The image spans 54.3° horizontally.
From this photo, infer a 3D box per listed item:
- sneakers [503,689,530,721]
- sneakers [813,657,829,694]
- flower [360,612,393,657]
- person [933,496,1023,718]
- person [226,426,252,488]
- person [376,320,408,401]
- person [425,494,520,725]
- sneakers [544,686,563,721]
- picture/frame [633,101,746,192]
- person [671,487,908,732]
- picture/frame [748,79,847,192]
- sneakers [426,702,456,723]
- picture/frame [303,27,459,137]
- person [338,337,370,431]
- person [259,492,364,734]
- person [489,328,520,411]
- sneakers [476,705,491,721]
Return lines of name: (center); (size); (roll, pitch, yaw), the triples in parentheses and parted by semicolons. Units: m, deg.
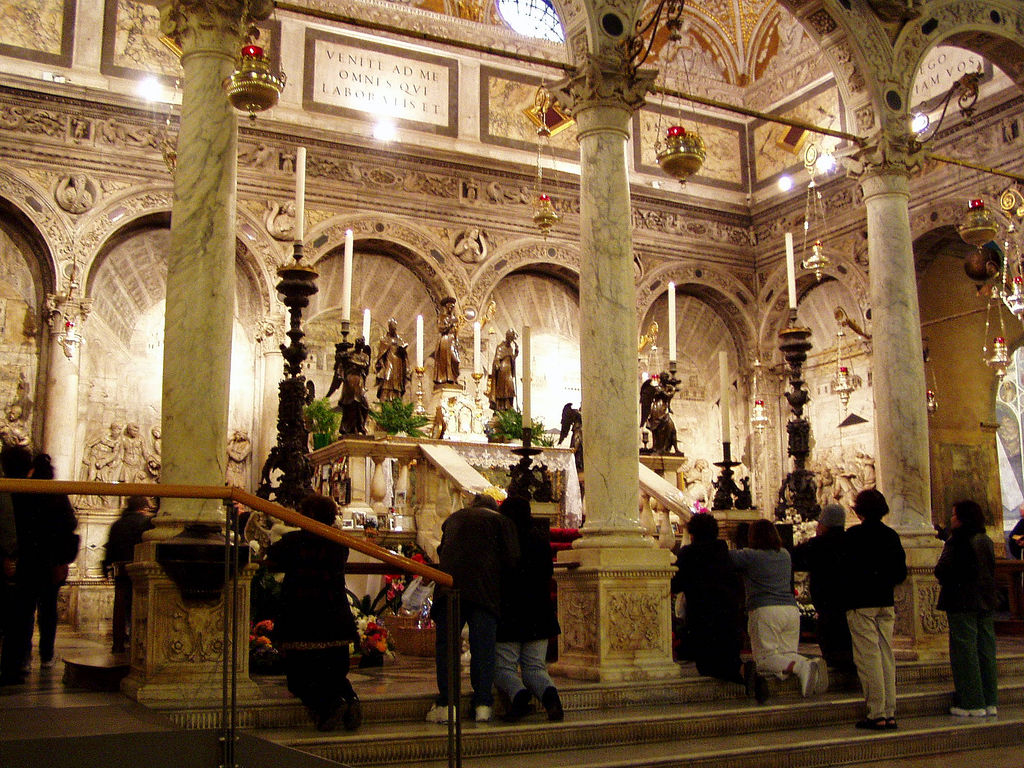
sneakers: (0.053, 2.262, 7.068); (0.219, 0.200, 0.125); (5, -13, -22)
sneakers: (2.511, 2.349, 8.095); (0.124, 0.358, 0.138); (1, 0, -10)
flower: (-1.260, 2.260, 9.051); (0.282, 0.334, 0.231); (4, -13, -17)
person: (3.757, 1.833, 8.226); (0.459, 1.724, 0.541); (-6, -14, 24)
person: (-4.354, 1.147, 15.908); (0.294, 0.924, 0.528); (-3, -13, 15)
person: (-1.648, -0.308, 13.856); (0.409, 1.267, 0.938); (2, -13, -9)
person: (-0.289, 1.581, 7.201); (0.596, 1.600, 0.488); (5, -13, -20)
sneakers: (0.291, 2.250, 7.081); (0.142, 0.231, 0.171); (0, -12, 1)
picture/frame: (3.616, -4.839, 20.113); (2.530, 1.650, 0.412); (7, -14, -29)
person: (2.688, 1.808, 8.208); (0.717, 1.822, 1.099); (2, -13, -9)
picture/frame: (5.544, -4.877, 19.637); (0.388, 1.550, 2.297); (6, -14, -27)
sneakers: (-0.542, 2.299, 7.007); (0.102, 0.122, 0.258); (6, -14, -25)
picture/frame: (-2.383, -5.165, 17.163); (3.316, 1.712, 0.225); (8, -18, -29)
person: (-1.839, -0.027, 11.675); (0.342, 1.177, 1.044); (2, -13, -9)
person: (-1.348, 1.649, 6.778); (0.651, 1.305, 0.220); (1, -13, -6)
person: (-0.116, -0.182, 14.275); (0.352, 1.206, 0.612); (1, -12, -3)
sneakers: (-0.190, 2.284, 6.951); (0.075, 0.108, 0.171); (-10, -16, 38)
